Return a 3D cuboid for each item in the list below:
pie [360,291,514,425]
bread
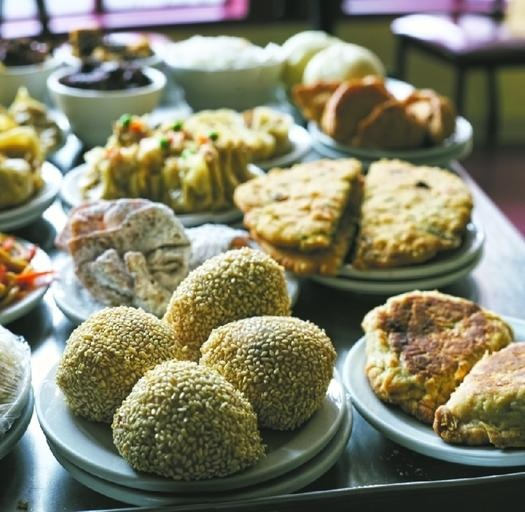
[{"bbox_3d":[0.159,0.086,0.565,0.113,0.048,0.149,25,41,38],"label":"pie"},{"bbox_3d":[0.197,-0.260,0.928,0.165,0.075,0.188,-22,41,-11],"label":"bread"}]
